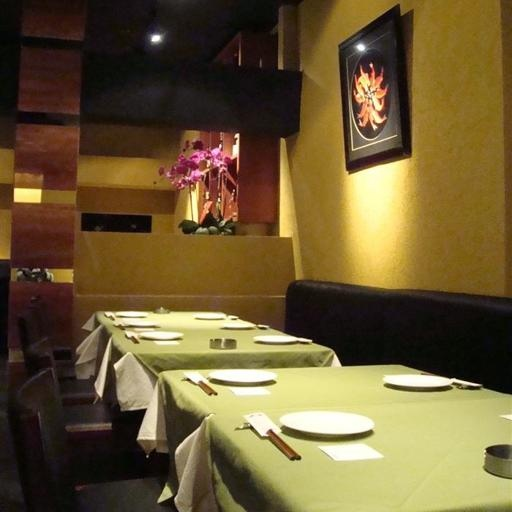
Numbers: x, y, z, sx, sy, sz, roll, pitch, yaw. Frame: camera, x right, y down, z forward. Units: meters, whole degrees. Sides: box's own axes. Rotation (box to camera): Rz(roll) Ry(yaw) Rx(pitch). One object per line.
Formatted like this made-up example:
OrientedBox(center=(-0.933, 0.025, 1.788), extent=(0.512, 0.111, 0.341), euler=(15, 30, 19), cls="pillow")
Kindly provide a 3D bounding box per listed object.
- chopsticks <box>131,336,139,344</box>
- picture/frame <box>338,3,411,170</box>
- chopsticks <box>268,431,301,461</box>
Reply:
OrientedBox(center=(-0.494, 0.346, 1.831), extent=(0.020, 0.014, 0.035), euler=(2, 4, -19), cls="chopsticks")
OrientedBox(center=(0.744, -1.039, 2.887), extent=(0.182, 0.912, 0.668), euler=(4, -3, -19), cls="picture/frame")
OrientedBox(center=(0.045, 0.303, 0.723), extent=(0.016, 0.009, 0.074), euler=(0, 7, -17), cls="chopsticks")
